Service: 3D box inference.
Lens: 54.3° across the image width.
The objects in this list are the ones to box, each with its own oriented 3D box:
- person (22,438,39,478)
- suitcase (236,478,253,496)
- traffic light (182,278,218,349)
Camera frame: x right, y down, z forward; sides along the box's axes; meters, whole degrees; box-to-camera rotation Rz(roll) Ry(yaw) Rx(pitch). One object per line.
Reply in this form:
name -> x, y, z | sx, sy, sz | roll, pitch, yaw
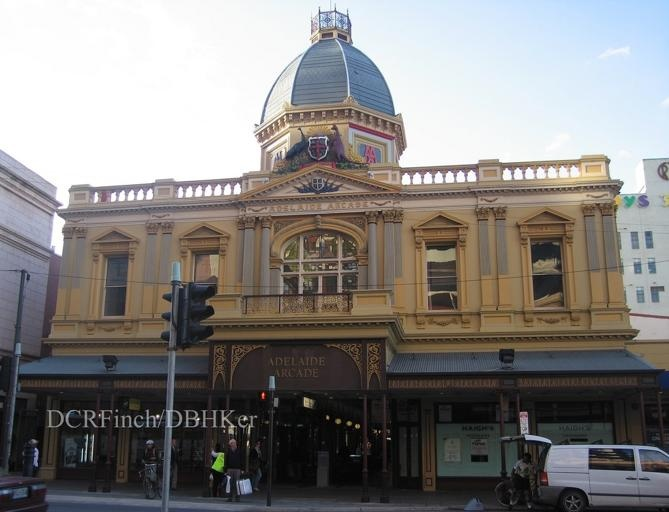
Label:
person -> -10.452, 6.950, 22.412 | 0.504, 1.228, 0.468 | 2, -18, -15
suitcase -> -3.139, 7.896, 22.452 | 0.465, 0.482, 0.669 | 1, -17, -9
traffic light -> -2.656, 1.080, 12.641 | 0.598, 1.350, 0.917 | 2, -18, -11
